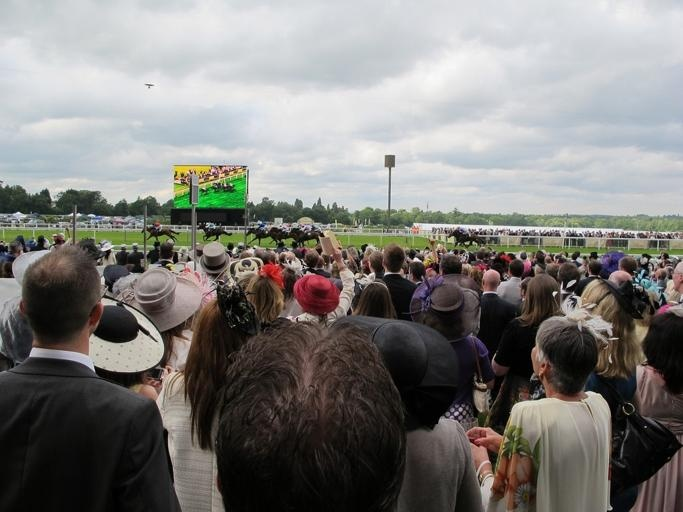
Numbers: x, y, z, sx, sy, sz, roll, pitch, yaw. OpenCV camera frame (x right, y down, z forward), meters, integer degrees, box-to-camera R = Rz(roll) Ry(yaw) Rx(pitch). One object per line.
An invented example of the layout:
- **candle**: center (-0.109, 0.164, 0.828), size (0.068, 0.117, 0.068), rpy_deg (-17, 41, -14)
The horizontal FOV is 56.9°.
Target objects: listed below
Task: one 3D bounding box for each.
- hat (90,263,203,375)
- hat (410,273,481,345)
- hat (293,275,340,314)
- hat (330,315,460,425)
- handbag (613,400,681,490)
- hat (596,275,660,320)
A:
- **hat**: center (-1.206, 0.451, 4.604), size (0.505, 0.602, 0.706), rpy_deg (-2, 5, -32)
- **hat**: center (0.831, 0.351, 4.877), size (0.499, 0.170, 0.499), rpy_deg (-15, 12, -2)
- **hat**: center (-0.180, 0.264, 5.199), size (0.391, 0.143, 0.447), rpy_deg (-6, 43, -24)
- **hat**: center (0.294, 0.557, 2.923), size (0.504, 0.538, 0.295), rpy_deg (1, 4, 2)
- **handbag**: center (1.915, 1.201, 3.946), size (0.377, 0.417, 0.206), rpy_deg (-25, -13, -4)
- **hat**: center (2.085, 0.247, 4.698), size (0.433, 0.167, 0.383), rpy_deg (33, 14, -22)
